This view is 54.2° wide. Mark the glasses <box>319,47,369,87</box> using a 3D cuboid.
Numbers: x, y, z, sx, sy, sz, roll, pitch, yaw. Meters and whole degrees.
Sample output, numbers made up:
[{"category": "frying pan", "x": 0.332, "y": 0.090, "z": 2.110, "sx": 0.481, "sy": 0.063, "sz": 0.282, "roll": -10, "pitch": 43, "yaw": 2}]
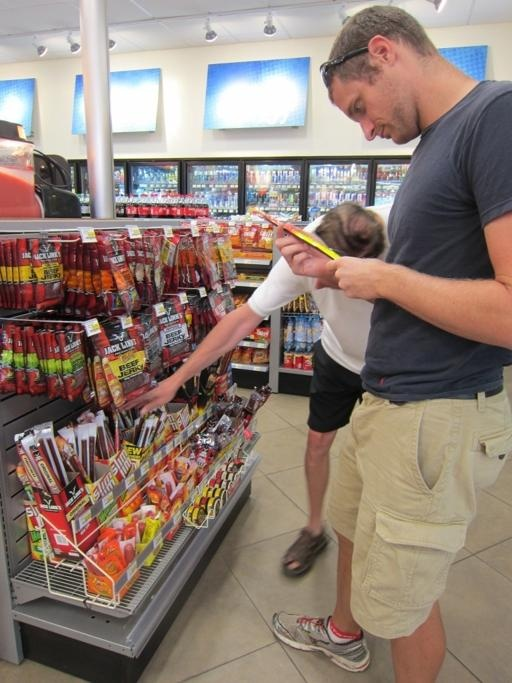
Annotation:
[{"category": "glasses", "x": 0.180, "y": -0.573, "z": 1.035, "sx": 0.073, "sy": 0.021, "sz": 0.072, "roll": -18, "pitch": 11, "yaw": 16}]
